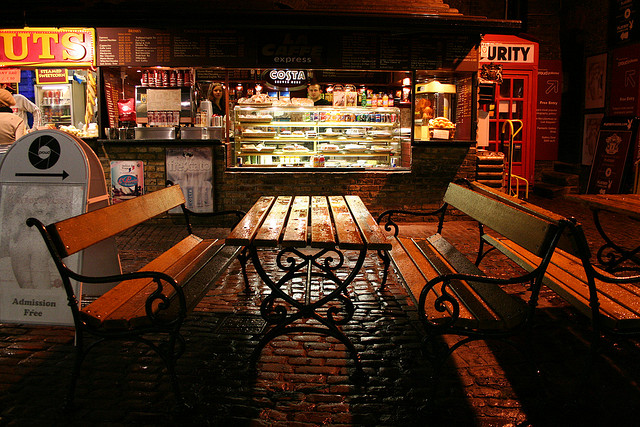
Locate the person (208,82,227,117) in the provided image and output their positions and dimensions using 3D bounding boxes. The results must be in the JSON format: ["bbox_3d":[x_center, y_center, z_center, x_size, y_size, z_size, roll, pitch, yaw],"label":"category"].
[{"bbox_3d":[-2.246,-2.502,10.455,0.348,0.680,0.218,-1,15,-5],"label":"person"}]

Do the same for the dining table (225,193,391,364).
[{"bbox_3d":[-0.136,0.620,5.795,1.661,1.217,2.741,2,11,-2],"label":"dining table"}]

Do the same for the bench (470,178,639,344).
[{"bbox_3d":[2.707,0.554,5.496,1.003,0.910,2.281,-1,8,-2],"label":"bench"}]

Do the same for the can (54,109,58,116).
[{"bbox_3d":[-6.845,-2.625,12.497,0.087,0.159,0.040,4,16,14],"label":"can"}]

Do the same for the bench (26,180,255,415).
[{"bbox_3d":[-1.825,0.900,4.828,1.149,0.987,2.410,0,8,1],"label":"bench"}]

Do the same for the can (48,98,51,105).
[{"bbox_3d":[-7.010,-2.917,12.491,0.071,0.159,0.042,-1,15,-5],"label":"can"}]

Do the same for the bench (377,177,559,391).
[{"bbox_3d":[1.580,0.797,5.272,1.099,1.071,2.477,0,8,5],"label":"bench"}]
